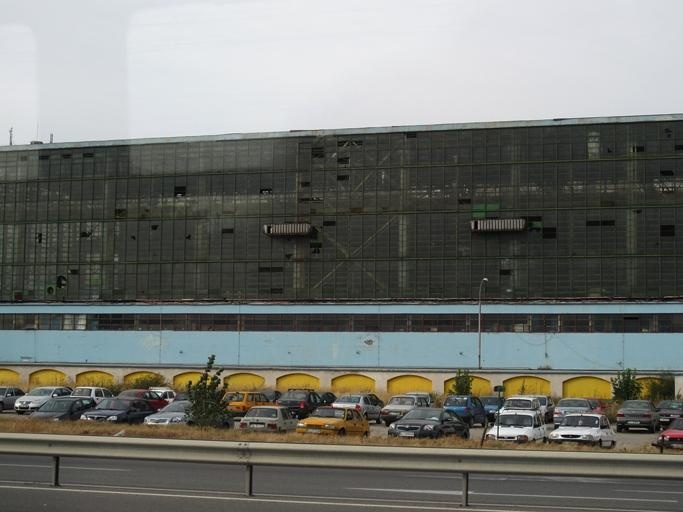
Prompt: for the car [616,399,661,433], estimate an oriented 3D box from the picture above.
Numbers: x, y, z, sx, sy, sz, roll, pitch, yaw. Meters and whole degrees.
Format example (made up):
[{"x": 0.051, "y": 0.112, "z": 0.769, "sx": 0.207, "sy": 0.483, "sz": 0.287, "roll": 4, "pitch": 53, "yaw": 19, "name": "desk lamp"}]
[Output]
[{"x": 21.735, "y": 11.865, "z": 101.142, "sx": 2.888, "sy": 2.332, "sz": 1.856, "roll": 3, "pitch": 9, "yaw": 12, "name": "car"}]
